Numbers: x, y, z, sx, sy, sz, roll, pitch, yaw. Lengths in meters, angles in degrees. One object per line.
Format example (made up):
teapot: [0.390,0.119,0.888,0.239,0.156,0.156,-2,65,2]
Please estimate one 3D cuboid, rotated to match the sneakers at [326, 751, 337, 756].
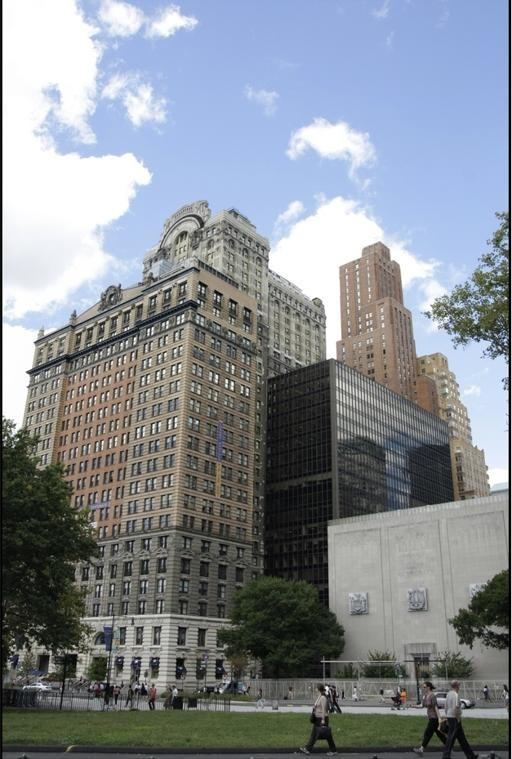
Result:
sneakers: [1.951,9.712,16.967,0.252,0.138,0.452,-3,-21,5]
